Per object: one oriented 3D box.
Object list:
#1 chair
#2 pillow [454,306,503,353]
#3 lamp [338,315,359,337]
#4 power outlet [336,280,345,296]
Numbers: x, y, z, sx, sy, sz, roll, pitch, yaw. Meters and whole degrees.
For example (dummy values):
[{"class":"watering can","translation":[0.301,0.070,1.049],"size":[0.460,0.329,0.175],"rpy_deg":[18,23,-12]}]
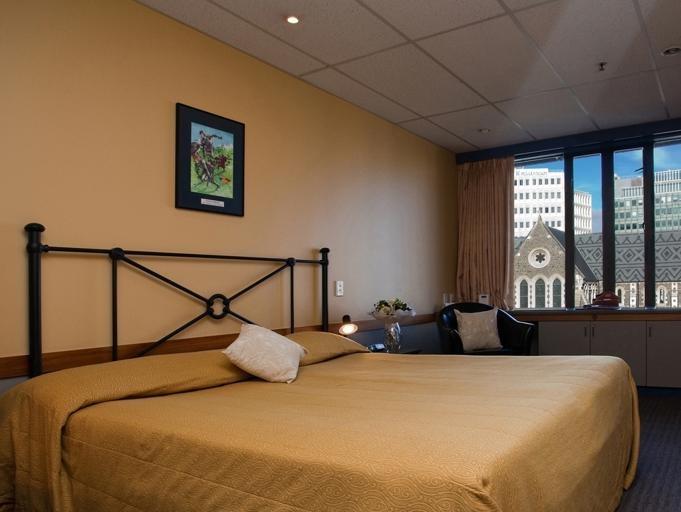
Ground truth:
[{"class":"chair","translation":[1.377,0.751,5.058],"size":[0.732,0.714,0.625],"rpy_deg":[4,-19,-12]},{"class":"pillow","translation":[1.354,0.732,4.956],"size":[0.361,0.343,0.142],"rpy_deg":[-6,-46,0]},{"class":"lamp","translation":[0.064,0.586,4.216],"size":[0.170,0.189,0.189],"rpy_deg":[0,-40,-9]},{"class":"power outlet","translation":[-0.014,0.276,4.431],"size":[0.015,0.158,0.129],"rpy_deg":[-3,-5,32]}]
